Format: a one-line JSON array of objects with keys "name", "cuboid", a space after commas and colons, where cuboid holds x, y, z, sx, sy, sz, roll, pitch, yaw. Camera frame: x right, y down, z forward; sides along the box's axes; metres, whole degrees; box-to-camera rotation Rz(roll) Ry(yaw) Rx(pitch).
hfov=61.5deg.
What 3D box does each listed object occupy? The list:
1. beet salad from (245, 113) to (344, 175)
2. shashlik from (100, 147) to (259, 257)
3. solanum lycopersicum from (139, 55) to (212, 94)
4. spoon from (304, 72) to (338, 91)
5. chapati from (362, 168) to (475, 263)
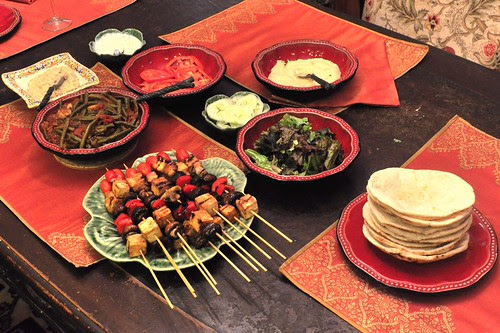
[{"name": "beet salad", "cuboid": [0.345, -0.219, 4.043, 1.029, 0.446, 0.880, -12, 24, -15]}, {"name": "shashlik", "cuboid": [-0.572, 0.250, 3.710, 1.363, 0.293, 1.269, -25, 42, -18]}, {"name": "solanum lycopersicum", "cuboid": [-0.836, -1.022, 4.736, 0.584, 0.158, 0.565, 24, 48, 28]}, {"name": "spoon", "cuboid": [0.729, -0.883, 4.423, 0.416, 0.072, 0.106, 39, 99, 46]}, {"name": "chapati", "cuboid": [1.284, 0.338, 3.239, 0.798, 0.337, 0.723, 4, 54, 6]}]
